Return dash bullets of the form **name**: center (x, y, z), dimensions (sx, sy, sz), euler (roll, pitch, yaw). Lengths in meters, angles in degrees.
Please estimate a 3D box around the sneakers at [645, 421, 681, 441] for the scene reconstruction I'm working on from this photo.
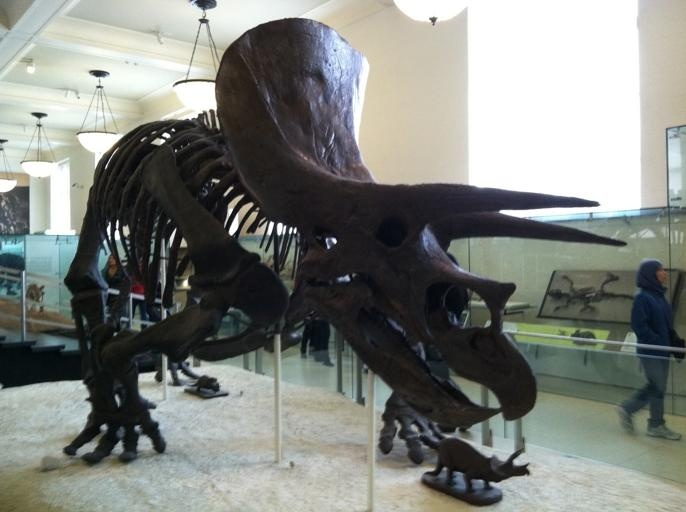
- **sneakers**: center (2.039, 1.115, 3.676), dimensions (0.206, 0.097, 0.081), euler (-1, 2, 20)

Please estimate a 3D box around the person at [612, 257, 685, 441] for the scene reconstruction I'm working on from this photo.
- **person**: center (2.254, 0.602, 4.148), dimensions (0.365, 1.089, 1.162), euler (1, 3, 31)
